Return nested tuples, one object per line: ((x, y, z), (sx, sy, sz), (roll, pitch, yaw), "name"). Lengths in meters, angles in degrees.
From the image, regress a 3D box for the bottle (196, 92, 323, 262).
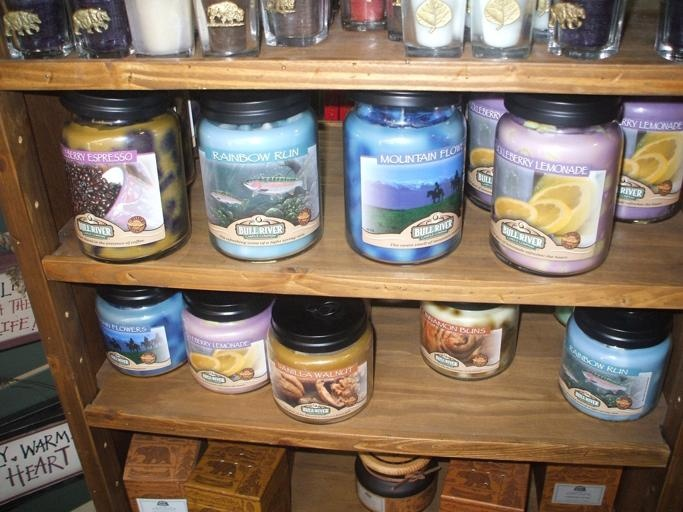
((-0.107, -0.139, 0.852), (0.272, 0.234, 0.223), (-1, 36, -2), "bottle")

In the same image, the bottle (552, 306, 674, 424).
((0.441, 0.176, 0.891), (0.158, 0.149, 0.153), (-31, 44, -27), "bottle")

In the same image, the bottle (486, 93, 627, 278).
((0.289, -0.094, 0.760), (0.159, 0.248, 0.104), (2, 33, 12), "bottle")

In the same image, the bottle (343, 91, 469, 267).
((0.086, -0.107, 0.761), (0.183, 0.209, 0.166), (-26, 46, -28), "bottle")

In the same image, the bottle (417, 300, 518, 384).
((0.202, 0.138, 1.015), (0.188, 0.138, 0.154), (2, 40, 5), "bottle")

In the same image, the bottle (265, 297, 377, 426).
((-0.019, 0.160, 0.992), (0.237, 0.182, 0.206), (5, 36, 6), "bottle")
